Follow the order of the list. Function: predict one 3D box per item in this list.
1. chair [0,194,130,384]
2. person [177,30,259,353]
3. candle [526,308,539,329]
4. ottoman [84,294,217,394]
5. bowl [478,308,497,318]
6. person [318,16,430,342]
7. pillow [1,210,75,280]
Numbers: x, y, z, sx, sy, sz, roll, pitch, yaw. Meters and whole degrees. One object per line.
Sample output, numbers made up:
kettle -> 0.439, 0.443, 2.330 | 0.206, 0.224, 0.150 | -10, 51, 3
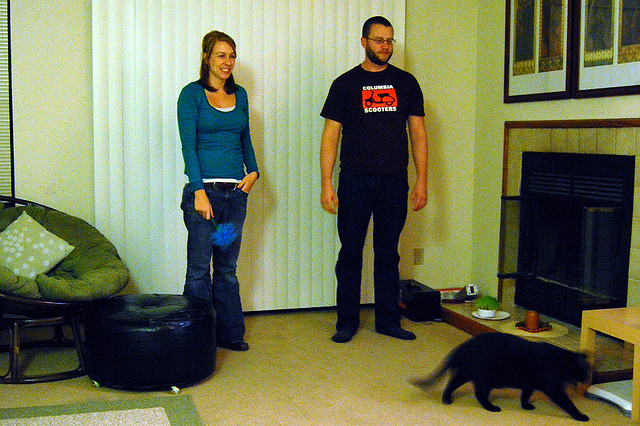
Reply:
chair -> -1.522, 0.432, 3.348 | 1.125, 0.957, 1.031 | 1, -1, -42
person -> -0.645, -0.118, 3.237 | 0.508, 2.052, 0.404 | -3, 10, -17
candle -> 1.416, 0.714, 3.387 | 0.100, 0.104, 0.096 | 0, -5, 1
ottoman -> -1.018, 0.747, 3.021 | 0.739, 0.439, 0.697 | 2, 4, -23
bowl -> 1.198, 0.712, 3.617 | 0.087, 0.036, 0.083 | 0, 0, 0
person -> 0.360, -0.220, 3.465 | 0.746, 2.191, 0.513 | 2, 10, 9
pillow -> -1.768, 0.210, 3.139 | 0.359, 0.370, 0.108 | -43, -11, -32
